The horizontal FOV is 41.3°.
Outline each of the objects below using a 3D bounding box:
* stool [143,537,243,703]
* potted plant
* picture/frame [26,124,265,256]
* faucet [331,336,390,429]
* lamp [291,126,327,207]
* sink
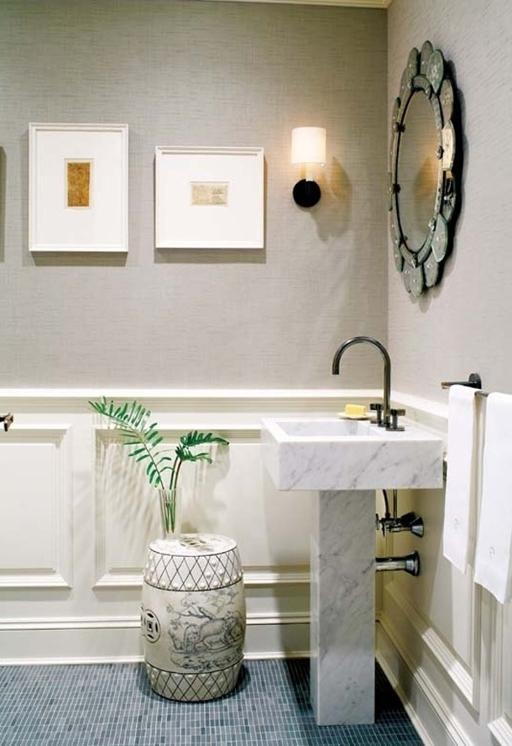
[{"bbox_3d":[-0.190,0.772,2.249,0.288,0.622,0.354,0,-3,-2],"label":"stool"},{"bbox_3d":[-0.352,0.245,2.331,0.369,0.387,0.420,7,1,30],"label":"potted plant"},{"bbox_3d":[-0.380,-0.635,2.343,0.801,0.424,0.034,0,2,-2],"label":"picture/frame"},{"bbox_3d":[0.342,0.011,2.143,0.159,0.255,0.500,0,3,12],"label":"faucet"},{"bbox_3d":[0.182,-0.708,2.360,0.127,0.258,0.139,0,3,5],"label":"lamp"},{"bbox_3d":[0.256,0.239,1.945,0.457,0.195,0.539,-1,4,-5],"label":"sink"}]
